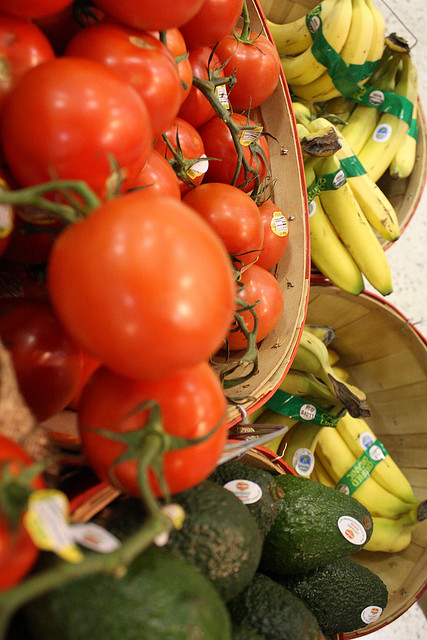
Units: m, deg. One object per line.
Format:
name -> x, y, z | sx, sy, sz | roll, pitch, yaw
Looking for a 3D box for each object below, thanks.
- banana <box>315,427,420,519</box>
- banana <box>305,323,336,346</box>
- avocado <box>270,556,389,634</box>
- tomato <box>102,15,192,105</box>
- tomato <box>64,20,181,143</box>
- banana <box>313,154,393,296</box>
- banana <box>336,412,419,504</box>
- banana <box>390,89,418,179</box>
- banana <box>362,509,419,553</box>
banana -> 0.352, 0.355, 1.258 | 0.289, 0.205, 0.162 | -10, 24, -11
banana -> 0.263, 0.036, 1.246 | 0.081, 0.046, 0.053 | 17, 57, -12
avocado -> 0.176, 0.380, 0.739 | 0.173, 0.100, 0.094 | -5, 85, -6
tomato -> -0.077, -0.305, 0.652 | 0.105, 0.125, 0.085 | 34, 35, 21
tomato -> -0.072, -0.231, 0.530 | 0.131, 0.127, 0.132 | 20, 27, 30
banana -> 0.294, -0.198, 1.154 | 0.195, 0.303, 0.181 | -13, 38, -13
banana -> 0.389, 0.325, 1.188 | 0.208, 0.067, 0.057 | 58, 16, 22
banana -> 0.501, -0.468, 1.312 | 0.061, 0.067, 0.275 | 13, 73, 5
banana -> 0.400, 0.462, 1.139 | 0.130, 0.049, 0.106 | 0, 96, -30
